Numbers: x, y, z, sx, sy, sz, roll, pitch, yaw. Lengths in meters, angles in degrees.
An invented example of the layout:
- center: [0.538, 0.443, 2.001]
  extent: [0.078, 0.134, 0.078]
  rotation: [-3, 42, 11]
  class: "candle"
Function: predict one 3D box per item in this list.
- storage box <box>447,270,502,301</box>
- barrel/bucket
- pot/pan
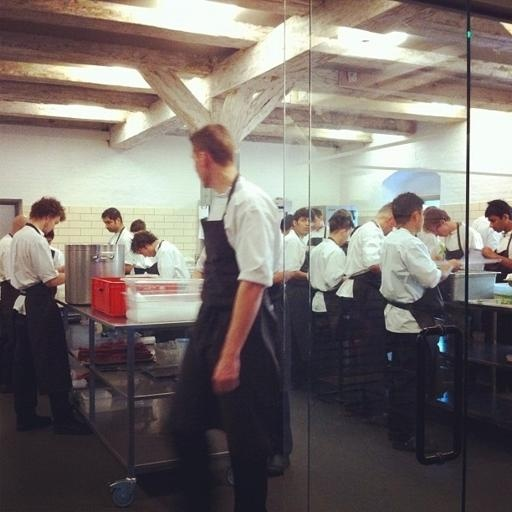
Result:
- center: [0.546, 0.070, 1.282]
  extent: [0.098, 0.053, 0.092]
  rotation: [0, -1, -11]
  class: "storage box"
- center: [-0.772, 0.095, 2.659]
  extent: [0.359, 0.304, 0.303]
  rotation: [1, -1, 4]
  class: "barrel/bucket"
- center: [-0.785, 0.110, 2.645]
  extent: [0.351, 0.298, 0.302]
  rotation: [1, 0, -12]
  class: "pot/pan"
